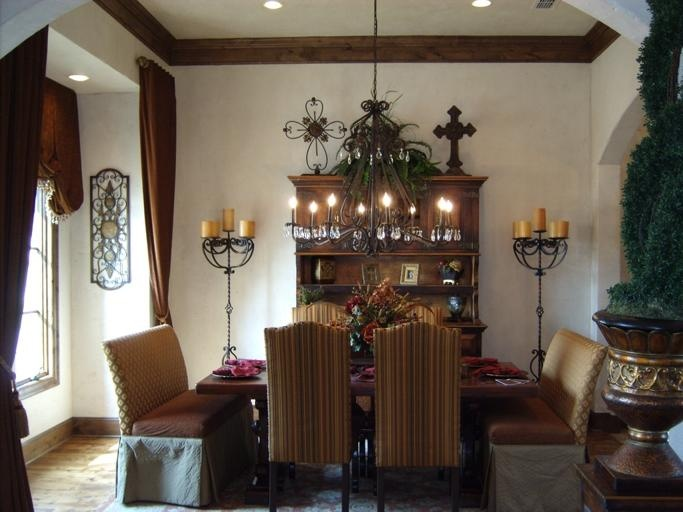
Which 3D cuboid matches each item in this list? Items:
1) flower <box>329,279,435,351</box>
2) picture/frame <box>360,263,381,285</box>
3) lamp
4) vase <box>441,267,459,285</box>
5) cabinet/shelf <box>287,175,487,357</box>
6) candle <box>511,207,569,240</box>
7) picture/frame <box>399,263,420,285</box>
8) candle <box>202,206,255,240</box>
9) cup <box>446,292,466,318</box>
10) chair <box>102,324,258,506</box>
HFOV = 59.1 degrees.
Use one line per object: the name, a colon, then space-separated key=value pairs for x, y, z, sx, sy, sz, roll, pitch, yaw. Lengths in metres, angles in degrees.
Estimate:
flower: x=0.278 y=0.424 z=4.479 sx=0.608 sy=0.555 sz=0.602 roll=3 pitch=-4 yaw=-43
picture/frame: x=0.289 y=0.181 z=5.835 sx=0.184 sy=0.235 sz=0.022 roll=0 pitch=-15 yaw=-5
lamp: x=0.184 y=-1.079 z=4.945 sx=1.278 sy=2.156 sz=2.147 roll=-1 pitch=2 yaw=-4
vase: x=1.021 y=0.197 z=5.680 sx=0.134 sy=0.164 sz=0.159 roll=-1 pitch=-2 yaw=16
cabinet/shelf: x=0.395 y=0.053 z=4.982 sx=1.526 sy=1.673 sz=0.420 roll=0 pitch=-3 yaw=2
candle: x=1.851 y=-0.258 z=5.541 sx=0.352 sy=0.228 sz=0.370 roll=1 pitch=-1 yaw=-15
picture/frame: x=0.663 y=0.182 z=5.803 sx=0.179 sy=0.265 sz=0.029 roll=2 pitch=-14 yaw=2
candle: x=-1.074 y=-0.268 z=5.692 sx=0.352 sy=0.220 sz=0.373 roll=1 pitch=-2 yaw=-10
cup: x=1.071 y=0.467 z=5.601 sx=0.175 sy=0.227 sz=0.193 roll=1 pitch=-5 yaw=-4
chair: x=-1.190 y=1.437 z=4.854 sx=0.950 sy=1.644 sz=1.589 roll=-3 pitch=0 yaw=4
